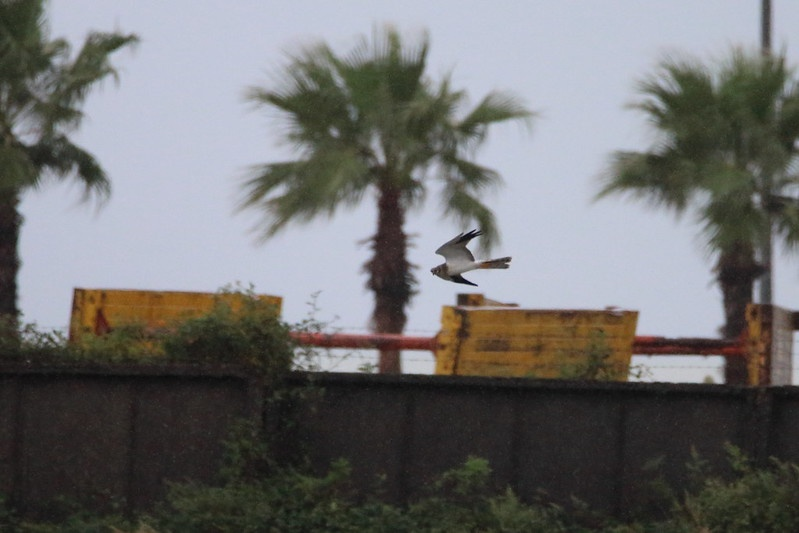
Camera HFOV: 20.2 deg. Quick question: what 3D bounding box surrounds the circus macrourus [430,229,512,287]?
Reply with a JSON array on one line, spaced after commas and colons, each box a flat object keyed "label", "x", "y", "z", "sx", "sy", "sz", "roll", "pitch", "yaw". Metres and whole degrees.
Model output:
[{"label": "circus macrourus", "x": 1.038, "y": -0.163, "z": 34.213, "sx": 0.788, "sy": 0.195, "sz": 1.143, "roll": -4, "pitch": -40, "yaw": 8}]
